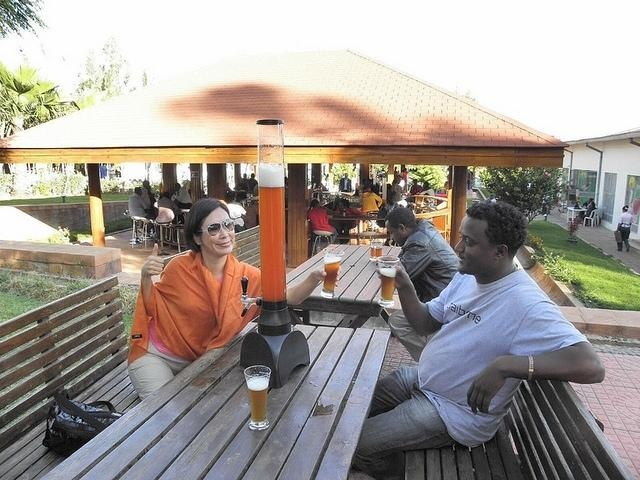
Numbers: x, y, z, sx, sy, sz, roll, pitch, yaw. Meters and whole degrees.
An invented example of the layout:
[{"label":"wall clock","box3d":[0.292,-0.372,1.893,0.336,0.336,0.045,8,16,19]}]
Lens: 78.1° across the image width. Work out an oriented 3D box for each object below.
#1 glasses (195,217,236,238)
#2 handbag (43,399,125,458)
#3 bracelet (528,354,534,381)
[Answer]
[{"label":"glasses","box3d":[-0.726,-0.086,2.753,0.244,0.110,0.120,-6,9,-20]},{"label":"handbag","box3d":[-1.356,1.077,2.246,0.328,0.236,0.266,23,-9,-5]},{"label":"bracelet","box3d":[1.031,0.618,1.928,0.026,0.099,0.064,2,10,28]}]
